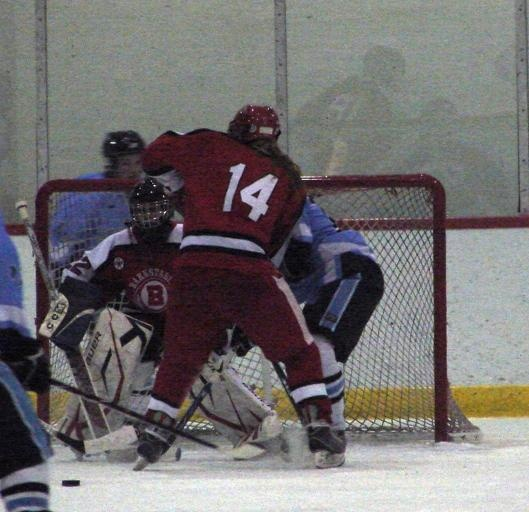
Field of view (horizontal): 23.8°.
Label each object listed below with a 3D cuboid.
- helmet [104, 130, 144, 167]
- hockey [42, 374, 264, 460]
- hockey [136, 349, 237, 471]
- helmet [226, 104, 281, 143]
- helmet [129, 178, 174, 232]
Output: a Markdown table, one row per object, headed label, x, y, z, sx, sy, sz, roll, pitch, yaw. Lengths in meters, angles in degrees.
| label | x | y | z | sx | sy | sz | roll | pitch | yaw |
| --- | --- | --- | --- | --- | --- | --- | --- | --- | --- |
| helmet | -0.494 | -0.378 | 4.385 | 0.139 | 0.116 | 0.163 | 3 | 7 | -7 |
| hockey | -0.374 | 0.490 | 4.228 | 0.563 | 0.048 | 0.413 | 18 | 3 | -18 |
| hockey | -0.270 | 0.519 | 4.300 | 0.236 | 0.259 | 0.905 | 13 | 6 | 15 |
| helmet | -0.037 | -0.465 | 4.413 | 0.165 | 0.130 | 0.153 | 2 | 25 | -23 |
| helmet | -0.395 | -0.181 | 4.401 | 0.182 | 0.151 | 0.194 | -1 | 13 | 1 |
